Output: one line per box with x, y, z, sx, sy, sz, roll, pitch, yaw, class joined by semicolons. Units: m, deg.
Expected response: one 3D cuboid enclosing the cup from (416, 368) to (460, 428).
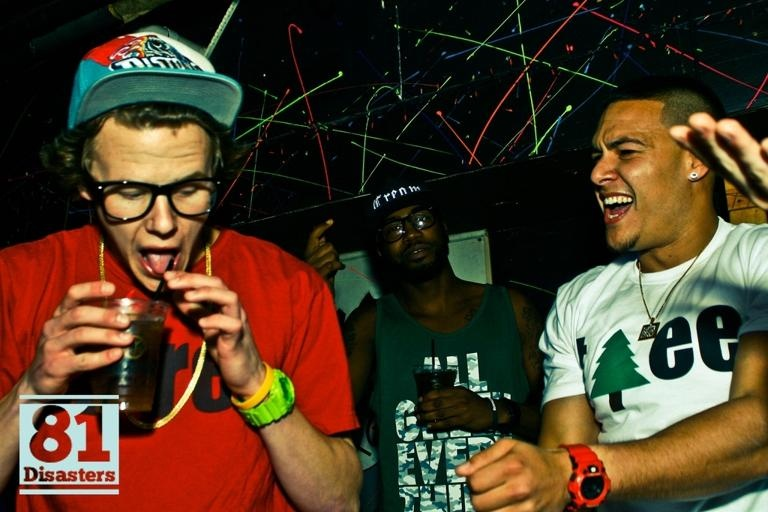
0.338;0.825;4.299;0.280;0.284;0.227;-6;8;18;cup

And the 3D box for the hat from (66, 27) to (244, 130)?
-1.062;-0.775;3.087;0.759;0.471;0.965;-5;4;-21;hat

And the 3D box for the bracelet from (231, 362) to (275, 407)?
-0.554;0.546;2.824;0.189;0.179;0.054;-13;-19;17;bracelet

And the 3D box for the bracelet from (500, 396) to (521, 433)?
0.797;1.006;4.312;0.166;0.175;0.097;22;42;37;bracelet

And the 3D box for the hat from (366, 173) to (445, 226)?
0.078;-0.451;5.038;0.477;0.289;0.592;-28;-12;2;hat
